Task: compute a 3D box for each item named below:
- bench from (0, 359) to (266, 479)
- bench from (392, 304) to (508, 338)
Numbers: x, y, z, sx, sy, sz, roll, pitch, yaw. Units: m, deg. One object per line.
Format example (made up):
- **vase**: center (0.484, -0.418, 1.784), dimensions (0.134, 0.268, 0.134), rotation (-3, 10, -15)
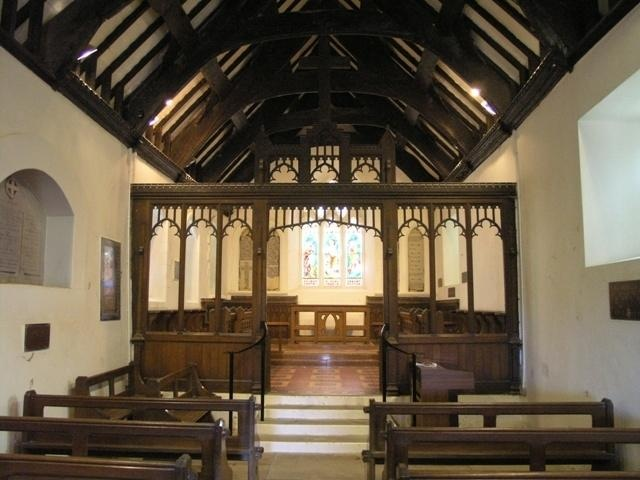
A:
- **bench**: center (-1.934, 2.209, 6.868), dimensions (2.662, 1.181, 2.299), rotation (-2, -7, 9)
- **bench**: center (2.293, 1.415, 10.464), dimensions (1.472, 0.448, 2.940), rotation (-1, -7, 2)
